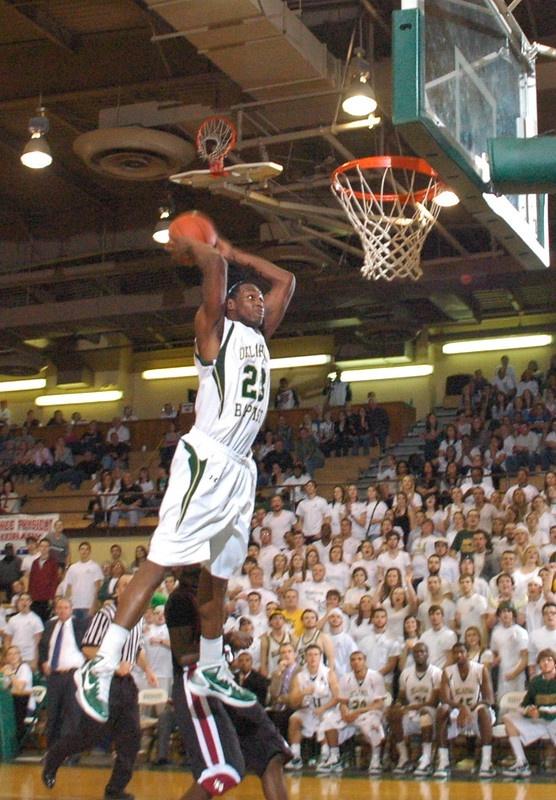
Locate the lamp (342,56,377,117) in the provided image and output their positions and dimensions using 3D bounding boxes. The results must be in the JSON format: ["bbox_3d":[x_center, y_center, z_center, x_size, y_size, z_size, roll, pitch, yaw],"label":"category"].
[{"bbox_3d":[0.992,-3.965,10.268,0.366,0.561,0.282,6,22,15],"label":"lamp"}]

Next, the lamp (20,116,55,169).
[{"bbox_3d":[-3.634,-3.918,12.579,0.402,0.891,0.698,0,-4,-17],"label":"lamp"}]

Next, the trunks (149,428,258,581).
[{"bbox_3d":[-0.305,0.429,3.314,0.229,0.627,0.598,-4,-5,33],"label":"trunks"}]
